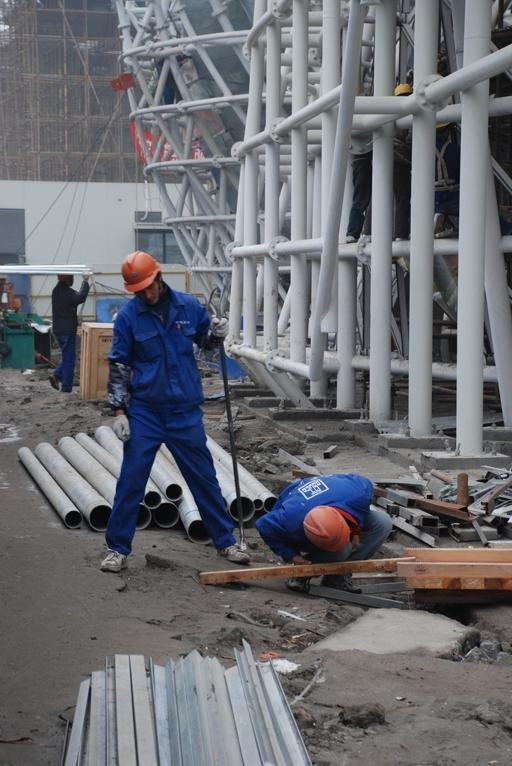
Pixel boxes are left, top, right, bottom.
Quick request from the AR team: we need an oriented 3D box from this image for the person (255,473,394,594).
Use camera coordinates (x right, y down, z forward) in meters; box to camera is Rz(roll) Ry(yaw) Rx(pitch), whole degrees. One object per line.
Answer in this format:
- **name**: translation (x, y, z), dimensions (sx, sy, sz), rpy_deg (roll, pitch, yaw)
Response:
- **person**: translation (0.417, 0.875, 5.037), dimensions (0.725, 0.490, 0.791), rpy_deg (-6, 7, -16)

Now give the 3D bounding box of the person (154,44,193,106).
- **person**: translation (-2.395, -8.371, 23.821), dimensions (0.887, 0.775, 3.703), rpy_deg (2, 1, -8)

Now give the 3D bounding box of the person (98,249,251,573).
- **person**: translation (-0.539, 0.185, 5.248), dimensions (0.847, 1.896, 0.377), rpy_deg (1, 3, -45)

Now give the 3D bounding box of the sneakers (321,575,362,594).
- **sneakers**: translation (0.500, 1.204, 5.141), dimensions (0.239, 0.141, 0.082), rpy_deg (-2, -2, 24)

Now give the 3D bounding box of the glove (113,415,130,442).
- **glove**: translation (-0.794, 0.268, 5.050), dimensions (0.086, 0.155, 0.149), rpy_deg (2, 2, -9)

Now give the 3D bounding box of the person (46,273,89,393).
- **person**: translation (-3.452, -0.936, 15.652), dimensions (0.632, 2.173, 1.357), rpy_deg (2, 2, -11)

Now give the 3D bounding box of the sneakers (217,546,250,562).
- **sneakers**: translation (-0.154, 1.113, 5.565), dimensions (0.093, 0.095, 0.234), rpy_deg (2, -6, -34)

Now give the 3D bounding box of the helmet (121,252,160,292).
- **helmet**: translation (-0.676, -0.645, 4.995), dimensions (0.212, 0.255, 0.199), rpy_deg (2, 2, -7)

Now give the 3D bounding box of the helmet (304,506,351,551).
- **helmet**: translation (0.394, 0.809, 4.690), dimensions (0.277, 0.258, 0.203), rpy_deg (2, 2, -12)

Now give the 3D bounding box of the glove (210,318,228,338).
- **glove**: translation (-0.236, -0.351, 5.318), dimensions (0.084, 0.127, 0.137), rpy_deg (3, -7, -9)
